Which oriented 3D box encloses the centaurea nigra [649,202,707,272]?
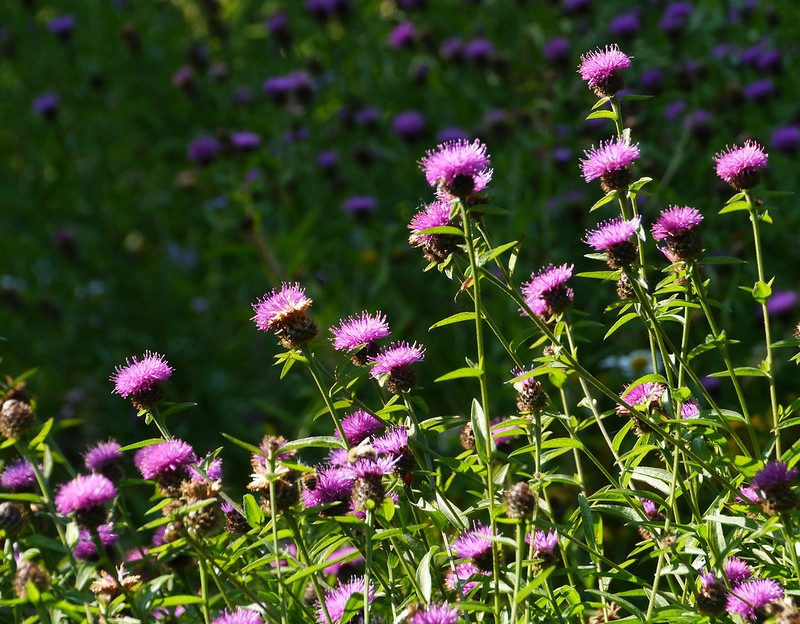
[{"bbox_3d":[1.219,-0.350,6.359,0.192,0.274,0.196,-22,-14,29],"label":"centaurea nigra"}]

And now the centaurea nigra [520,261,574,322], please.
[{"bbox_3d":[0.677,-0.101,6.435,0.171,0.237,0.189,-32,-18,25],"label":"centaurea nigra"}]

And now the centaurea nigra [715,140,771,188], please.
[{"bbox_3d":[1.517,-0.639,6.421,0.175,0.225,0.196,-8,-15,-11],"label":"centaurea nigra"}]

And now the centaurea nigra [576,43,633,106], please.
[{"bbox_3d":[0.919,-1.084,6.448,0.189,0.242,0.194,-4,-9,25],"label":"centaurea nigra"}]

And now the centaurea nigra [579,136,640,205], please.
[{"bbox_3d":[0.950,-0.696,6.417,0.248,0.331,0.269,-7,7,-2],"label":"centaurea nigra"}]

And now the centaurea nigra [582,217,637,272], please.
[{"bbox_3d":[0.941,-0.301,6.352,0.204,0.230,0.219,-33,1,0],"label":"centaurea nigra"}]
